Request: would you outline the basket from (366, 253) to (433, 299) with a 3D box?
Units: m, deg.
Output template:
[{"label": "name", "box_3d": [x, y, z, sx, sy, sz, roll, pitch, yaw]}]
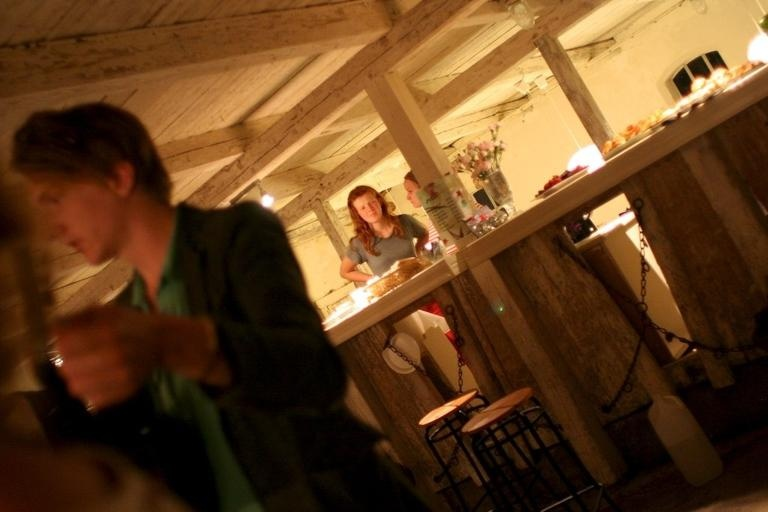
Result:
[{"label": "basket", "box_3d": [0.090, 0.154, 3.832, 0.380, 0.098, 0.240, -33, -21, 12]}]

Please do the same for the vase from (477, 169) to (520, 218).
[{"label": "vase", "box_3d": [0.813, -0.441, 4.055, 0.162, 0.357, 0.554, -30, -9, 13]}]
